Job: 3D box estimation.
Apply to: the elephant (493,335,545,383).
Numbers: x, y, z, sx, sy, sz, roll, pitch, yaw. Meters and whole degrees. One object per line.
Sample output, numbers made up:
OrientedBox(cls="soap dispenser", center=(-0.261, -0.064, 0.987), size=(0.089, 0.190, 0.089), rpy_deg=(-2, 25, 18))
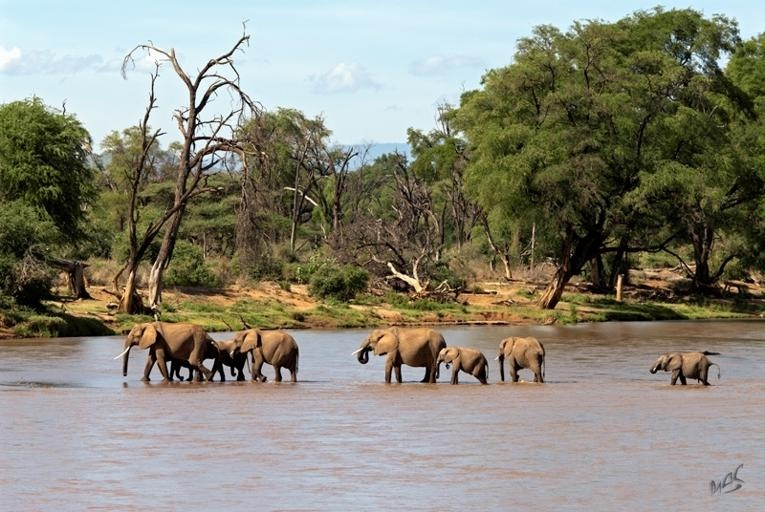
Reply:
OrientedBox(cls="elephant", center=(4.849, 3.617, 43.431), size=(1.655, 1.668, 0.812), rpy_deg=(4, 9, 21))

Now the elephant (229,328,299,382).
OrientedBox(cls="elephant", center=(-4.096, 3.434, 43.294), size=(2.274, 1.715, 0.824), rpy_deg=(2, 8, 5))

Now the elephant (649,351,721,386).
OrientedBox(cls="elephant", center=(10.759, 3.923, 43.505), size=(2.188, 1.358, 1.835), rpy_deg=(-5, 11, -33))

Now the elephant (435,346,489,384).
OrientedBox(cls="elephant", center=(2.732, 3.667, 43.511), size=(1.379, 1.493, 2.461), rpy_deg=(-1, -2, -12))
